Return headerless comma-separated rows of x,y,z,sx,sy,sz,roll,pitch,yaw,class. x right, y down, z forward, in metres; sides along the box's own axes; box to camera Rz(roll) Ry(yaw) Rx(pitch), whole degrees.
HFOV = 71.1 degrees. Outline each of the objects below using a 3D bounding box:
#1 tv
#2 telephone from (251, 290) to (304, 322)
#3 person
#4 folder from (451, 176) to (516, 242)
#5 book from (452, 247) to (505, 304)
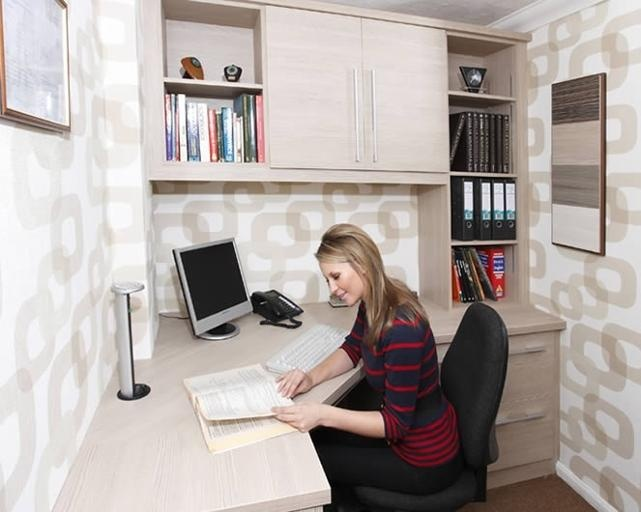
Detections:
-0.537,0.172,2.170,0.196,0.441,0.443,-1,6,26,tv
-0.242,0.269,2.403,0.296,0.093,0.307,7,17,-23,telephone
0.188,0.543,1.773,0.744,1.216,0.521,-5,7,-1,person
0.956,-0.273,2.600,0.375,0.360,0.146,-2,15,-8,folder
0.928,0.125,2.679,0.108,0.330,0.325,-11,3,10,book
